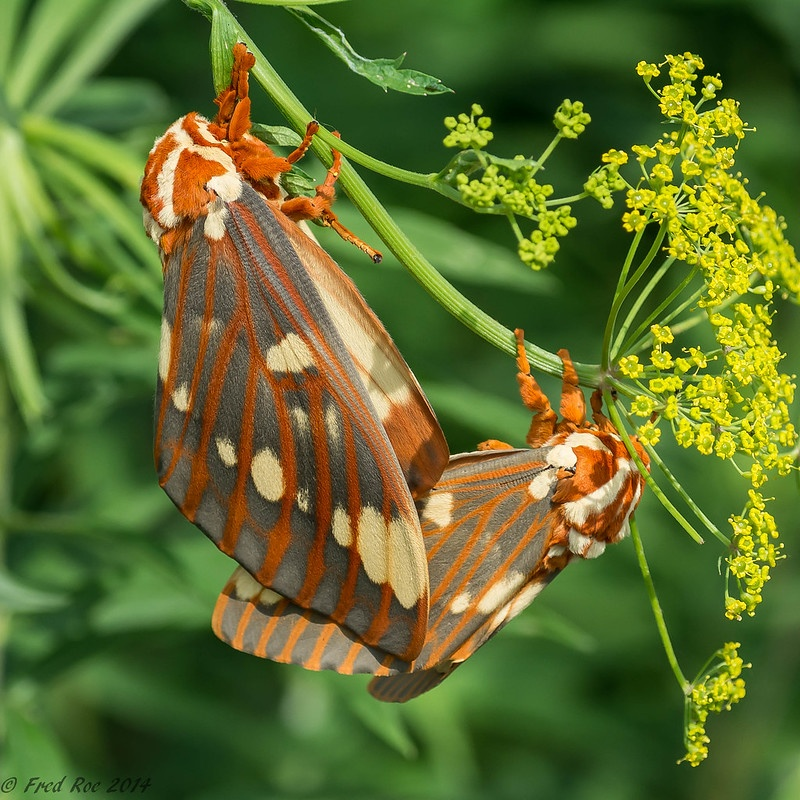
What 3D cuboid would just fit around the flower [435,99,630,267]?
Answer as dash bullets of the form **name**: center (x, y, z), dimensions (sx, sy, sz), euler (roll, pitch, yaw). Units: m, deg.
- **flower**: center (0.195, -0.351, 1.602), dimensions (0.292, 0.259, 0.241), euler (16, 18, -16)
